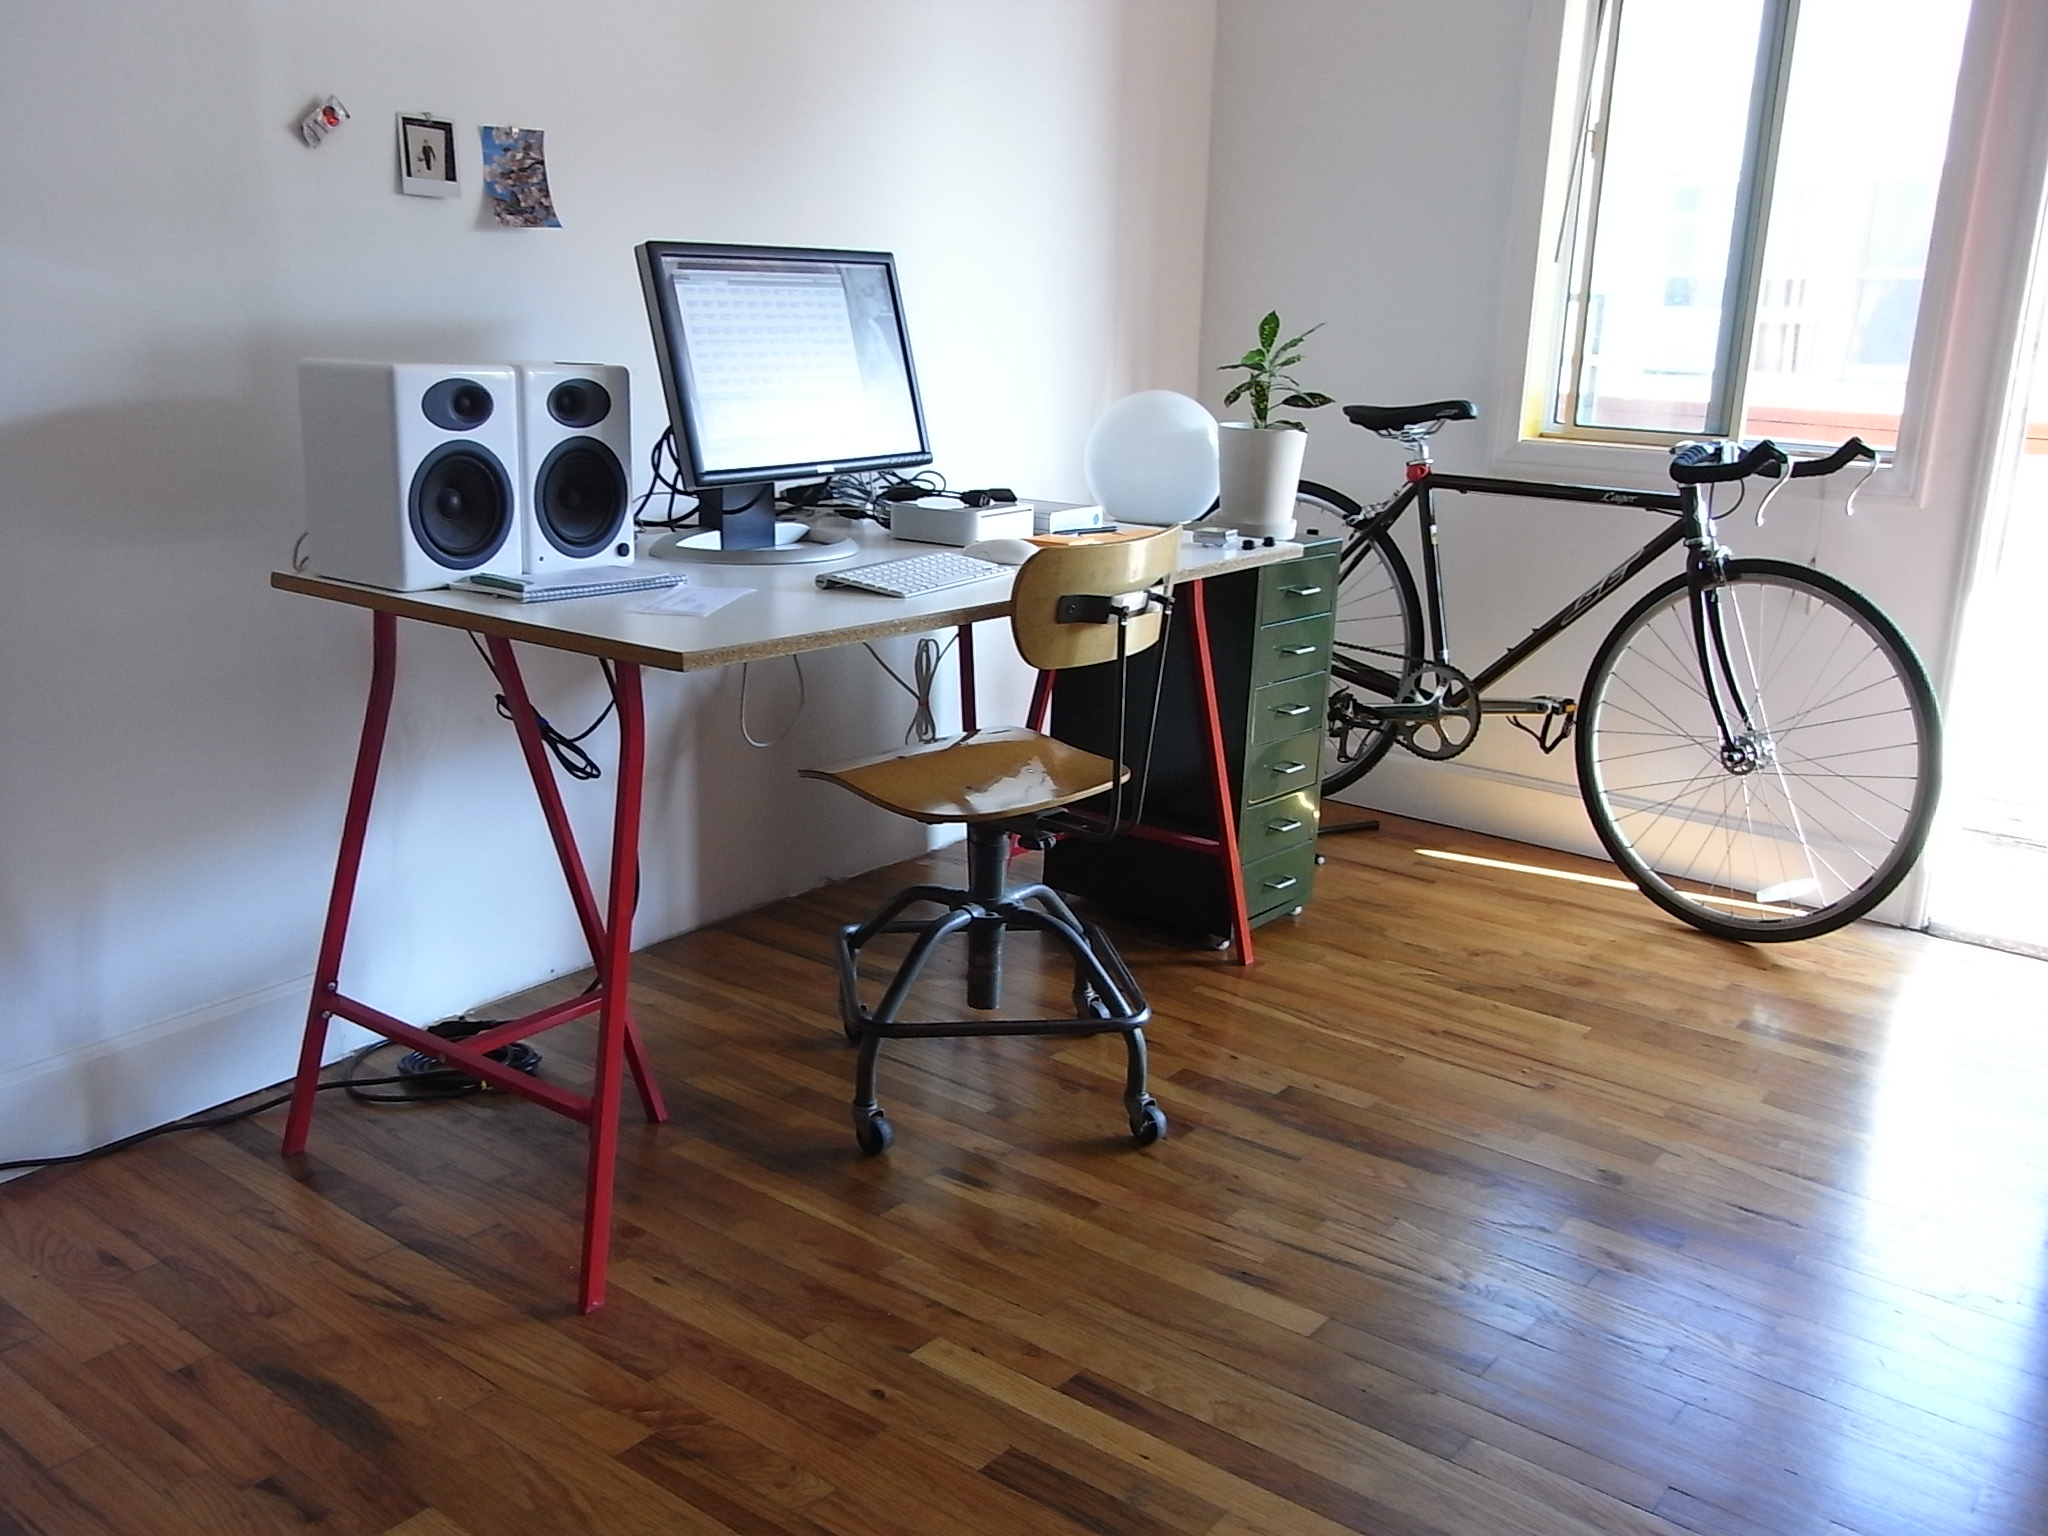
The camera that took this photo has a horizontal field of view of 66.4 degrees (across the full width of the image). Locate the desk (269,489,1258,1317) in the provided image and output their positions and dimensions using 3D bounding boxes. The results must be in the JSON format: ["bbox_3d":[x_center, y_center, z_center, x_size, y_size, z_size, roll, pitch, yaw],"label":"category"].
[{"bbox_3d":[-0.420,0.033,3.022,2.043,1.092,1.089,-21,29,-38],"label":"desk"}]

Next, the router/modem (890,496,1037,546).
[{"bbox_3d":[-0.145,-0.480,3.027,0.166,0.065,0.181,11,19,32],"label":"router/modem"}]

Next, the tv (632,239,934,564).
[{"bbox_3d":[-0.463,-0.685,2.922,0.288,0.526,0.599,15,20,32],"label":"tv"}]

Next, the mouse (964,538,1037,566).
[{"bbox_3d":[-0.039,-0.405,2.888,0.102,0.030,0.073,12,17,39],"label":"mouse"}]

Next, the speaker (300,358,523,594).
[{"bbox_3d":[-0.983,-0.470,2.457,0.392,0.346,0.205,-6,23,-9],"label":"speaker"}]

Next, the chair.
[{"bbox_3d":[-0.064,0.096,2.857,0.652,1.019,0.644,-8,12,-23],"label":"chair"}]

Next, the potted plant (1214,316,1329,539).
[{"bbox_3d":[0.508,-0.742,3.390,0.270,0.469,0.199,13,17,38],"label":"potted plant"}]
